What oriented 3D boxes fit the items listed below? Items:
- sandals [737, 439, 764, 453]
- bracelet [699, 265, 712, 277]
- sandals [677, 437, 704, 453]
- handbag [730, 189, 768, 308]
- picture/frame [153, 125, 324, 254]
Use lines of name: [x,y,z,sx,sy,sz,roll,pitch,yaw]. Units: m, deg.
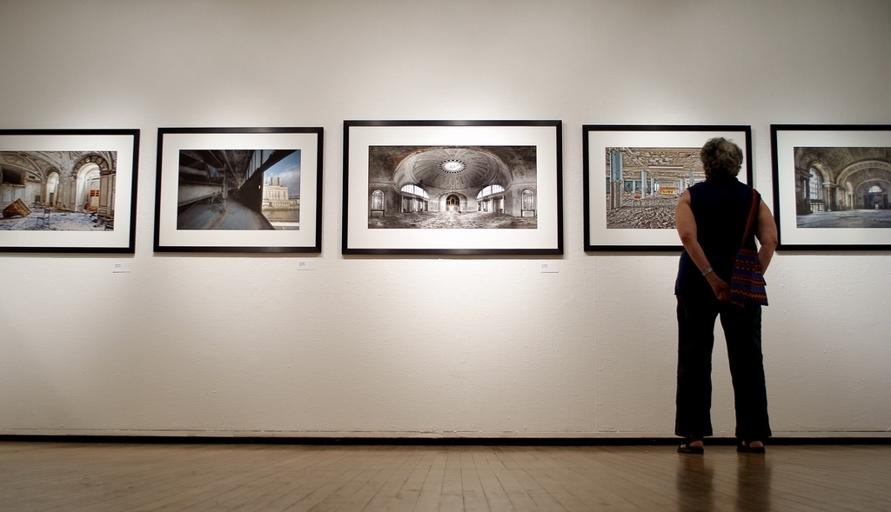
sandals: [2.752,1.718,5.871,0.253,0.092,0.110,1,-1,22]
bracelet: [2.313,0.145,5.776,0.072,0.020,0.073,-27,13,5]
sandals: [2.272,1.736,6.009,0.132,0.198,0.225,1,3,-10]
handbag: [2.691,-0.071,5.811,0.308,1.022,0.222,1,2,12]
picture/frame: [-2.127,-0.637,6.857,1.588,1.054,0.035,0,-5,1]
